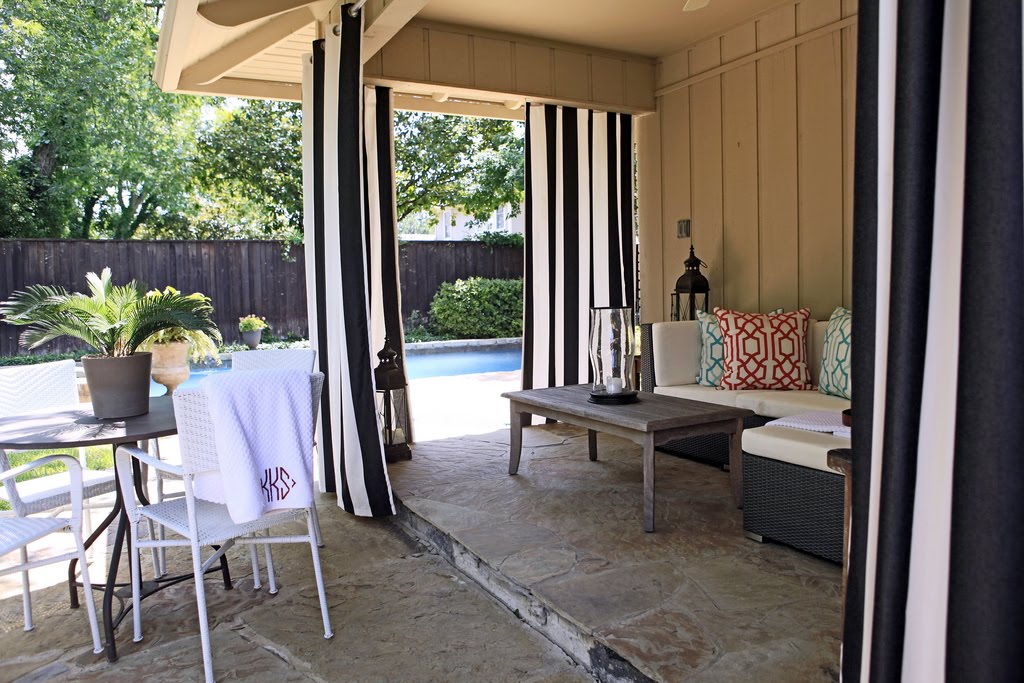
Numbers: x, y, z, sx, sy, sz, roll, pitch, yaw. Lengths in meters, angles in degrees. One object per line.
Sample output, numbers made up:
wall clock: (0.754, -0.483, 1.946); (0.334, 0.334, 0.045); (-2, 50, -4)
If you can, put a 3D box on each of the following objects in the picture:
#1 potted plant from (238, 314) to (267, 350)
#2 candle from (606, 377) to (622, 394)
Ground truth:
potted plant: (-4.168, -0.185, 11.541); (0.407, 0.510, 0.585); (-4, 7, -20)
candle: (0.615, 0.267, 4.277); (0.098, 0.102, 0.067); (2, 2, 32)
